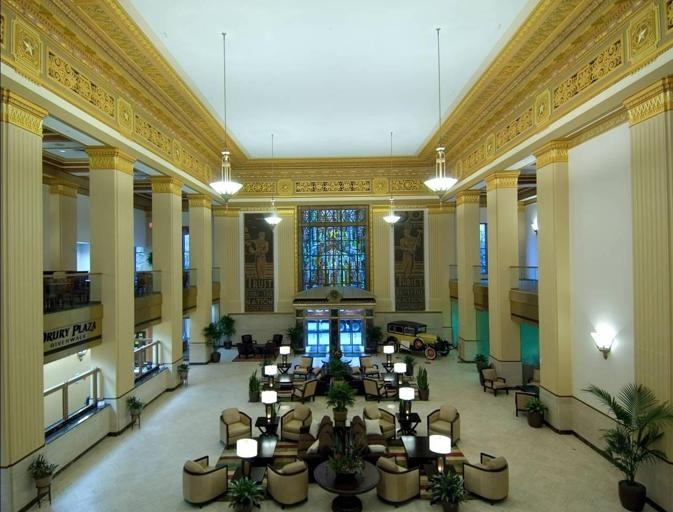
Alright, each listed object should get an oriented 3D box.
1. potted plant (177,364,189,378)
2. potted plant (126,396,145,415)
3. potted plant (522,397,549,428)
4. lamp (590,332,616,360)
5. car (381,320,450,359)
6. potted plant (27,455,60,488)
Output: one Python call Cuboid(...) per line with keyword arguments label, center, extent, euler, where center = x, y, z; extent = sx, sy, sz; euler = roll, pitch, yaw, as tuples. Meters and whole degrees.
Cuboid(label="potted plant", center=(-5.736, 4.264, 18.030), extent=(0.356, 0.292, 0.363), euler=(2, 0, 2))
Cuboid(label="potted plant", center=(-6.013, 4.433, 14.500), extent=(0.442, 0.511, 0.460), euler=(1, 14, -6))
Cuboid(label="potted plant", center=(5.761, 4.625, 14.322), extent=(0.636, 0.843, 0.665), euler=(1, 4, 8))
Cuboid(label="lamp", center=(6.942, 2.334, 12.646), extent=(0.516, 0.592, 0.553), euler=(1, -1, 42))
Cuboid(label="car", center=(3.655, 3.838, 22.258), extent=(2.719, 1.371, 1.419), euler=(3, 5, 43))
Cuboid(label="potted plant", center=(-6.688, 4.781, 10.987), extent=(0.537, 0.694, 0.532), euler=(-4, 8, -32))
